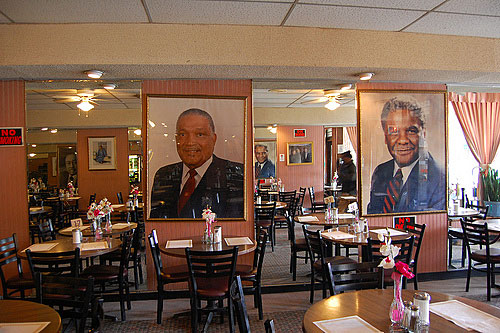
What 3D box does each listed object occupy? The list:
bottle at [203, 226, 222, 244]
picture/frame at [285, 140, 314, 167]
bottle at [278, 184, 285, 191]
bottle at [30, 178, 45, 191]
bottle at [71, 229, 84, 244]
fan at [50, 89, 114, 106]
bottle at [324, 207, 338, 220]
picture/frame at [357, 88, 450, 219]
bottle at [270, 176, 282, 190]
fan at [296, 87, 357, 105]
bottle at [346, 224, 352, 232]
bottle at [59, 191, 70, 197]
[{"bbox_3d":[-0.556,1.034,6.322,0.321,0.269,0.170,2,-4,-9],"label":"bottle"},{"bbox_3d":[1.621,-0.458,13.628,0.918,0.742,0.068,0,7,0],"label":"picture/frame"},{"bbox_3d":[0.999,0.665,13.226,0.162,0.178,0.188,0,1,-1],"label":"bottle"},{"bbox_3d":[-6.952,0.603,13.727,0.319,0.557,0.307,-4,8,1],"label":"bottle"},{"bbox_3d":[-2.675,1.068,6.524,0.152,0.228,0.355,-4,1,-23],"label":"bottle"},{"bbox_3d":[-3.665,-1.486,9.040,0.795,0.123,0.748,-2,-1,13],"label":"fan"},{"bbox_3d":[1.490,0.849,7.660,0.245,0.223,0.177,1,-6,-8],"label":"bottle"},{"bbox_3d":[2.644,-0.235,7.395,2.382,2.857,0.202,-1,-1,-7],"label":"picture/frame"},{"bbox_3d":[0.854,0.548,13.786,0.390,0.422,0.377,1,6,-5],"label":"bottle"},{"bbox_3d":[1.745,-1.608,9.583,0.702,0.154,0.602,0,-1,-40],"label":"fan"},{"bbox_3d":[1.658,1.023,6.954,0.091,0.097,0.095,0,2,-14],"label":"bottle"},{"bbox_3d":[-5.258,0.802,11.861,0.258,0.151,0.230,2,5,-8],"label":"bottle"}]
